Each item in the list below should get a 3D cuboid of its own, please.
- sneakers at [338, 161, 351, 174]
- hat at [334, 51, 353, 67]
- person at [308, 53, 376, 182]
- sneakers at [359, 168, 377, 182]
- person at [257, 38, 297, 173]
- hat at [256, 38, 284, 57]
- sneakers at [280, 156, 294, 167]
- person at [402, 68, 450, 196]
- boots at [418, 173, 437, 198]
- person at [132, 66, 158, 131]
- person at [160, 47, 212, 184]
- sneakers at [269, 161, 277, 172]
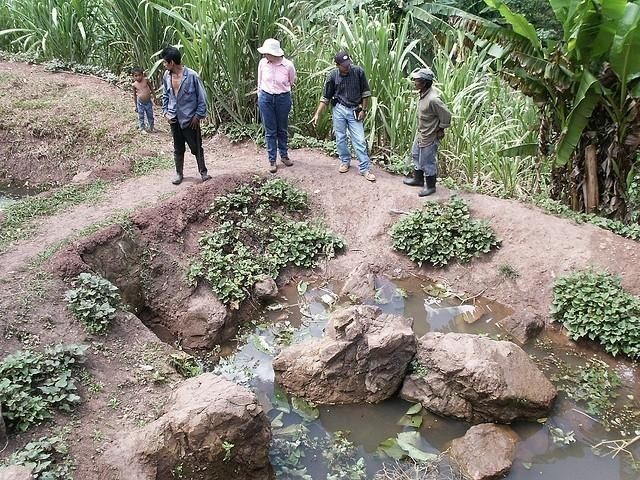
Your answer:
[{"bbox_3d":[0.396,-1.233,8.789,0.103,0.113,0.259,10,23,14],"label":"sneakers"},{"bbox_3d":[0.344,-2.827,8.064,0.232,0.195,0.345,-2,32,2],"label":"hat"},{"bbox_3d":[0.420,-2.016,8.427,0.926,1.959,0.717,2,31,8],"label":"person"},{"bbox_3d":[0.810,-1.077,8.629,0.267,0.108,0.138,35,55,29],"label":"sneakers"},{"bbox_3d":[-0.675,-2.127,8.310,0.600,2.028,0.538,-9,31,-10],"label":"person"},{"bbox_3d":[-0.753,-2.865,7.887,0.349,0.180,0.370,21,38,-8],"label":"hat"},{"bbox_3d":[-0.566,-1.359,8.838,0.206,0.138,0.109,21,40,31],"label":"sneakers"},{"bbox_3d":[1.646,-1.657,8.012,0.574,1.864,0.744,-9,31,-9],"label":"person"},{"bbox_3d":[1.647,-0.867,8.156,0.390,0.329,0.180,-13,32,-16],"label":"boots"},{"bbox_3d":[-3.382,-2.696,9.892,0.408,1.102,0.774,-12,32,-15],"label":"person"},{"bbox_3d":[-1.990,-1.794,7.651,0.715,1.962,0.356,1,31,8],"label":"person"},{"bbox_3d":[-0.787,-1.209,8.560,0.077,0.095,0.232,-1,31,1],"label":"sneakers"}]
